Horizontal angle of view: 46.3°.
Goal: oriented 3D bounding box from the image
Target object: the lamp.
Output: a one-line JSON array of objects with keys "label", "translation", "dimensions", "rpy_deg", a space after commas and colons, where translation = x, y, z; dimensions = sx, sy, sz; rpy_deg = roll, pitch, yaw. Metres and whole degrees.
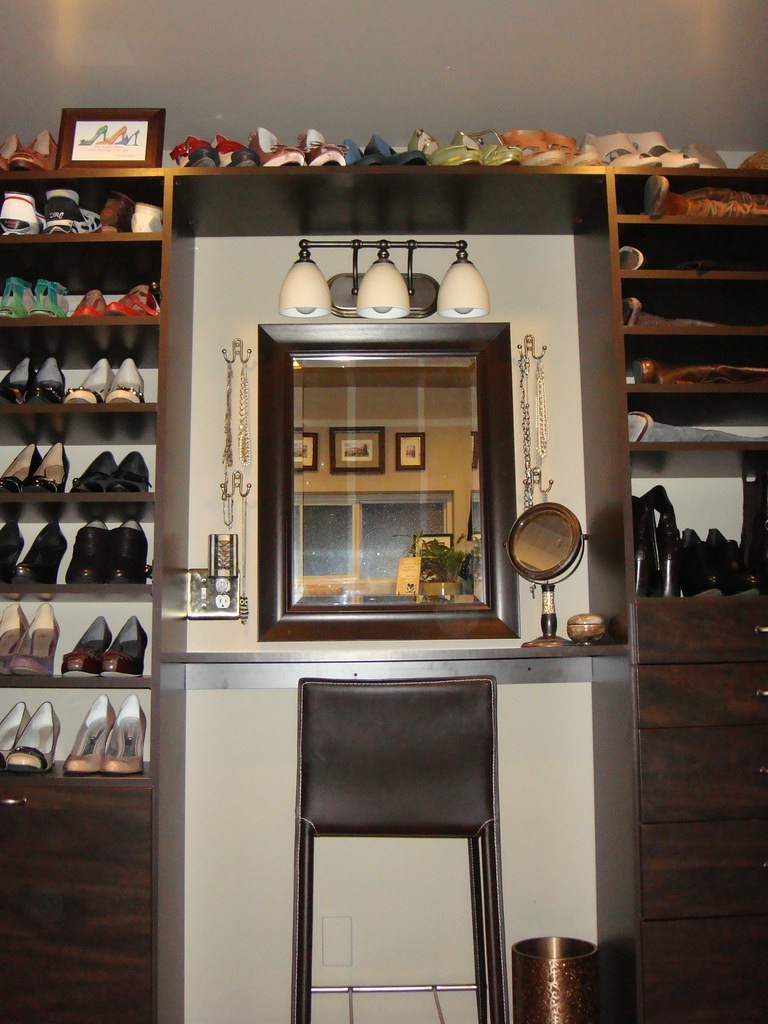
[{"label": "lamp", "translation": [-0.004, -0.652, 2.477], "dimensions": [0.569, 0.213, 0.157], "rpy_deg": [1, 0, 4]}]

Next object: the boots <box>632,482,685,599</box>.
[{"label": "boots", "translation": [0.689, 0.072, 2.258], "dimensions": [0.114, 0.292, 0.226], "rpy_deg": [-3, -8, 17]}]

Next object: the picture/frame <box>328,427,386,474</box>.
[{"label": "picture/frame", "translation": [-0.079, -0.172, 2.585], "dimensions": [0.139, 0.119, 0.010], "rpy_deg": [0, -9, -1]}]

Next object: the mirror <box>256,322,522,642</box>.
[{"label": "mirror", "translation": [0.000, -0.051, 2.562], "dimensions": [0.928, 1.130, 0.088], "rpy_deg": [0, -7, -1]}]

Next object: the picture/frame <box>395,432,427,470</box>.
[{"label": "picture/frame", "translation": [0.079, -0.172, 2.587], "dimensions": [0.110, 0.140, 0.011], "rpy_deg": [0, -9, -2]}]
